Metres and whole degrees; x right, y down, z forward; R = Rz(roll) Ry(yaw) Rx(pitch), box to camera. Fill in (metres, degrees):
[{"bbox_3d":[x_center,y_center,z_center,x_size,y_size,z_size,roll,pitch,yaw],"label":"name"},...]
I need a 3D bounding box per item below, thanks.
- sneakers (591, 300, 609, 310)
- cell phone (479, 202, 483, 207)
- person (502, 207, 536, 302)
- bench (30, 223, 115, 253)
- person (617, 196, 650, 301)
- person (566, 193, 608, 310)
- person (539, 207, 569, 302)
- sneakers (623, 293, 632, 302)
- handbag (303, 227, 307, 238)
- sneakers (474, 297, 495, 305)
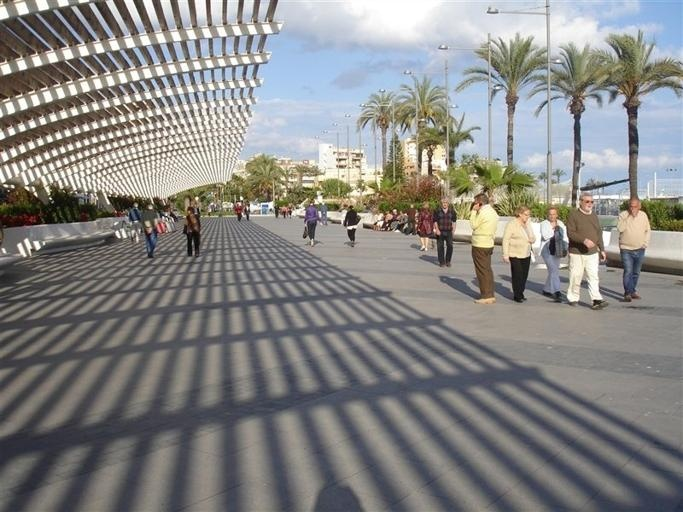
[{"bbox_3d":[5.554,1.017,9.246,0.337,0.194,0.269,0,2,10],"label":"sneakers"},{"bbox_3d":[3.411,-1.266,10.580,0.086,0.101,0.022,-3,0,-2],"label":"cell phone"},{"bbox_3d":[4.174,-0.048,10.094,0.663,2.177,1.350,0,2,25],"label":"person"},{"bbox_3d":[-16.151,-1.218,26.137,1.356,1.795,7.508,-1,3,-11],"label":"bench"},{"bbox_3d":[7.025,-0.226,10.435,0.609,2.408,1.260,0,2,45],"label":"person"},{"bbox_3d":[5.344,-0.145,9.380,0.757,2.485,1.041,0,1,33],"label":"person"},{"bbox_3d":[5.229,-0.094,10.575,0.564,2.205,1.237,0,1,25],"label":"person"},{"bbox_3d":[6.593,0.941,9.883,0.151,0.183,0.200,-7,4,12],"label":"sneakers"},{"bbox_3d":[-2.234,-1.343,25.460,0.199,0.700,0.463,1,4,15],"label":"handbag"},{"bbox_3d":[3.260,0.991,9.796,0.409,0.160,0.220,1,3,22],"label":"sneakers"}]
